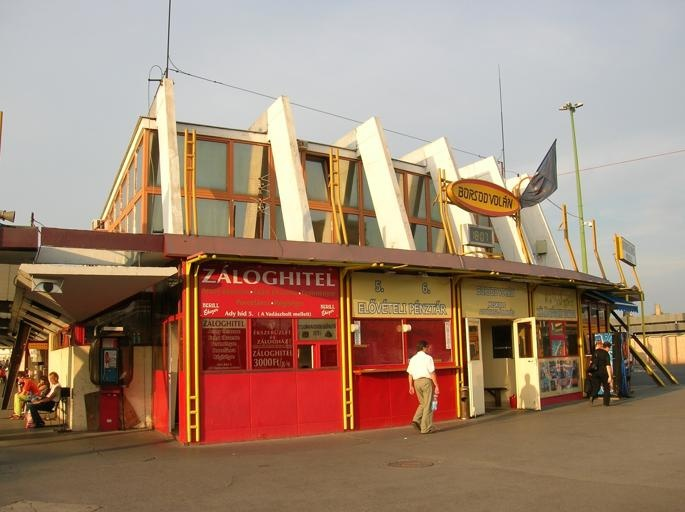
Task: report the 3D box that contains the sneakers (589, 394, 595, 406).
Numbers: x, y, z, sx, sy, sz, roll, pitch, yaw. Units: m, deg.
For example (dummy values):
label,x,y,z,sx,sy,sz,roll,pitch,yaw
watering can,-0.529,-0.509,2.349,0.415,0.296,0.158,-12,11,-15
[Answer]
label,x,y,z,sx,sy,sz,roll,pitch,yaw
sneakers,7.673,4.424,21.867,0.134,0.439,0.276,-2,-11,24

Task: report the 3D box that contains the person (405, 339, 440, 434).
label,x,y,z,sx,sy,sz,roll,pitch,yaw
person,1.946,3.192,17.292,0.653,2.181,0.783,-6,-13,7

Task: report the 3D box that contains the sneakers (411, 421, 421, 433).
label,x,y,z,sx,sy,sz,roll,pitch,yaw
sneakers,1.831,4.214,17.550,0.124,0.153,0.361,-9,-55,42

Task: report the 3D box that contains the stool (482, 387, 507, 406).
label,x,y,z,sx,sy,sz,roll,pitch,yaw
stool,4.944,4.596,23.211,0.345,0.679,0.948,4,-16,-31

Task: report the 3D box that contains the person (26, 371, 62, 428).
label,x,y,z,sx,sy,sz,roll,pitch,yaw
person,-8.658,4.220,20.607,0.924,1.724,0.762,11,-45,-19
